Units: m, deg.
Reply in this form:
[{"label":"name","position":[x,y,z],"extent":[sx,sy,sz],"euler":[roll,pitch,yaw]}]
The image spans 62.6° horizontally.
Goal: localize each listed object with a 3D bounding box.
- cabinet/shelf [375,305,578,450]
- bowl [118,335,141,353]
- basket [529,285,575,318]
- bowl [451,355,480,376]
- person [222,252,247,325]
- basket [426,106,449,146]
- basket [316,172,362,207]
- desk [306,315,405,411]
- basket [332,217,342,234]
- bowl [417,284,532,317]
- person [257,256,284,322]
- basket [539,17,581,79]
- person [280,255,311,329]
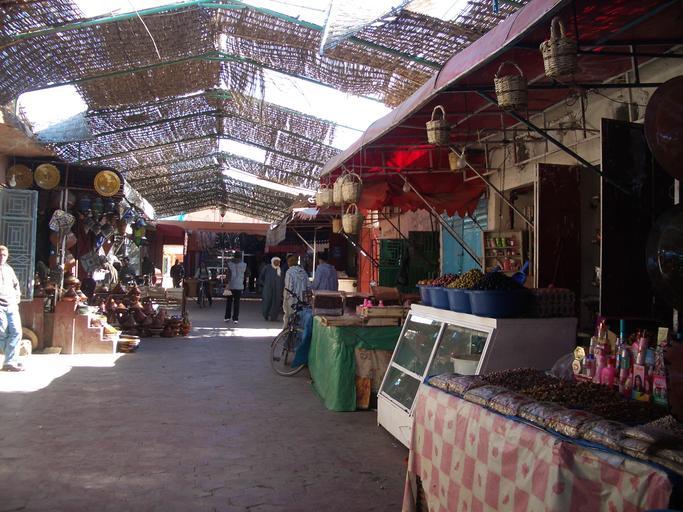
[{"label":"cabinet/shelf","position":[0.980,1.115,5.108],"extent":[1.374,1.253,1.884],"euler":[3,2,-10]},{"label":"bowl","position":[-4.022,1.656,10.610],"extent":[0.419,0.267,0.397],"euler":[1,0,0]},{"label":"basket","position":[1.756,0.367,4.699],"extent":[0.264,0.196,0.276],"euler":[1,-1,-4]},{"label":"bowl","position":[1.012,0.874,4.539],"extent":[0.180,0.136,0.167],"euler":[3,-4,0]},{"label":"person","position":[-3.010,0.890,15.724],"extent":[0.695,2.176,0.803],"euler":[0,0,-11]},{"label":"basket","position":[0.974,-1.296,5.520],"extent":[0.212,0.369,0.264],"euler":[-1,-2,-20]},{"label":"basket","position":[-0.020,-0.895,7.619],"extent":[0.229,0.338,0.659],"euler":[3,-1,-19]},{"label":"desk","position":[-0.047,1.290,6.935],"extent":[0.855,0.885,1.518],"euler":[3,1,-11]},{"label":"basket","position":[-0.075,-0.565,10.689],"extent":[0.297,0.348,0.312],"euler":[1,2,0]},{"label":"bowl","position":[1.111,0.374,4.852],"extent":[0.453,0.262,0.974],"euler":[1,0,-39]},{"label":"person","position":[-2.045,0.955,16.629],"extent":[0.712,1.941,0.515],"euler":[2,2,-7]},{"label":"basket","position":[1.512,-1.414,3.840],"extent":[0.215,0.377,0.255],"euler":[-11,-14,42]},{"label":"person","position":[-0.896,0.650,10.608],"extent":[0.511,1.434,0.547],"euler":[4,1,-14]}]
